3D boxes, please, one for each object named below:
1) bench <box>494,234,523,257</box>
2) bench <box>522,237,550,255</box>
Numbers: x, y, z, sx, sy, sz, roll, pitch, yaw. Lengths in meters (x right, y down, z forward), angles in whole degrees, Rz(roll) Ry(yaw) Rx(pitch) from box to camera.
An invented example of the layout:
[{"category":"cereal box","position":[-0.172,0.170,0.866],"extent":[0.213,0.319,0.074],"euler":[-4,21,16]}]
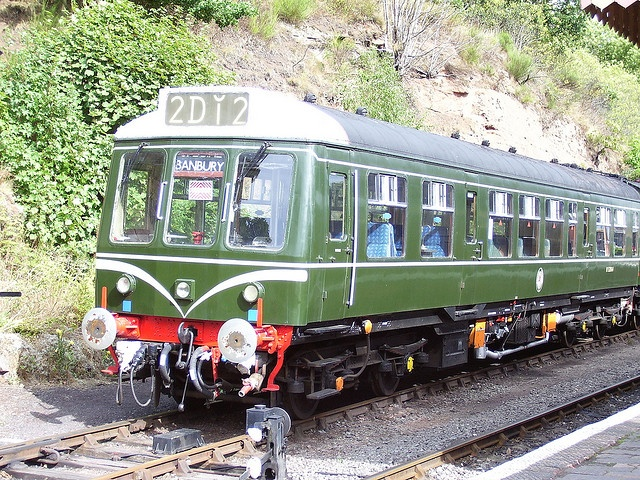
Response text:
[{"category":"bench","position":[3.682,0.174,10.394],"extent":[0.399,0.431,0.597],"euler":[-1,0,40]},{"category":"bench","position":[4.513,0.129,11.088],"extent":[0.440,0.366,0.662],"euler":[3,2,33]}]
